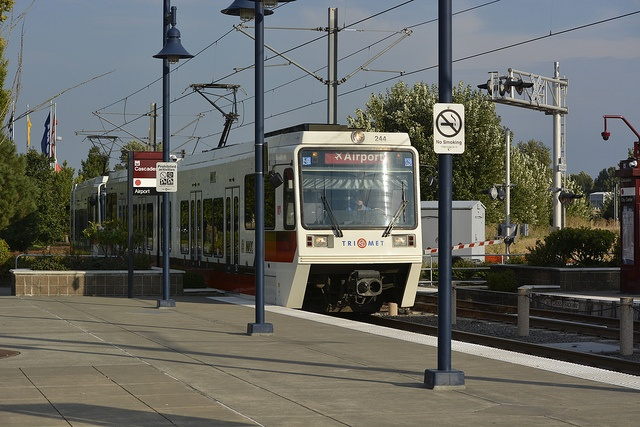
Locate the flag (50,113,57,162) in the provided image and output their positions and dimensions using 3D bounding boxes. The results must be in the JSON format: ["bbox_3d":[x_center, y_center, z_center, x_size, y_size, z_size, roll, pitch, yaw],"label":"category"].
[{"bbox_3d":[-21.338,-5.952,71.305,0.414,4.145,4.420,2,-3,-16],"label":"flag"}]

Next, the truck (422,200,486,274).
[{"bbox_3d":[6.171,0.901,42.464,3.180,2.968,1.722,-2,2,32],"label":"truck"}]
